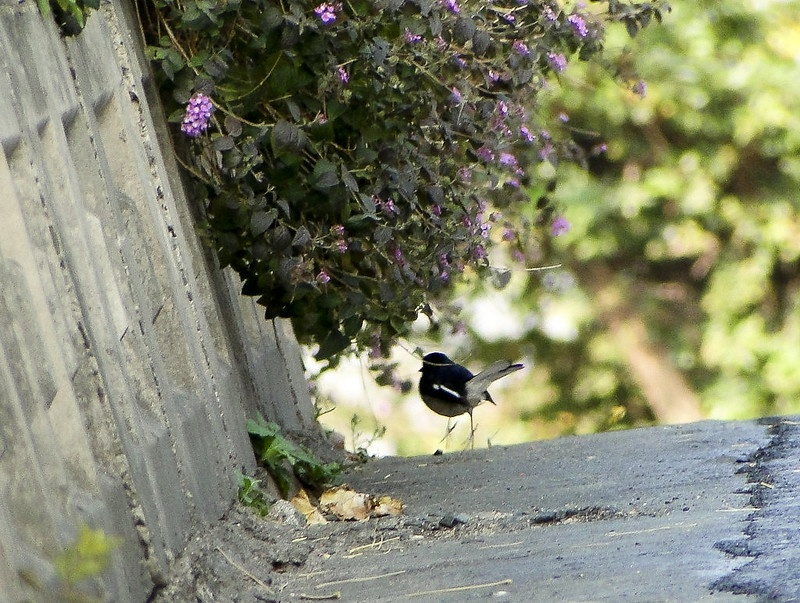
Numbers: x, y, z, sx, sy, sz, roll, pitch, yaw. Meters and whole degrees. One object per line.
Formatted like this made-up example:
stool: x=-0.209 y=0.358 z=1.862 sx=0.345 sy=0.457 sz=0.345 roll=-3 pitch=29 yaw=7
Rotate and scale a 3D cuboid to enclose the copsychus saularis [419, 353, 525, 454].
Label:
copsychus saularis: x=0.297 y=0.427 z=8.589 sx=0.572 sy=0.494 sz=0.243 roll=-13 pitch=-18 yaw=33
